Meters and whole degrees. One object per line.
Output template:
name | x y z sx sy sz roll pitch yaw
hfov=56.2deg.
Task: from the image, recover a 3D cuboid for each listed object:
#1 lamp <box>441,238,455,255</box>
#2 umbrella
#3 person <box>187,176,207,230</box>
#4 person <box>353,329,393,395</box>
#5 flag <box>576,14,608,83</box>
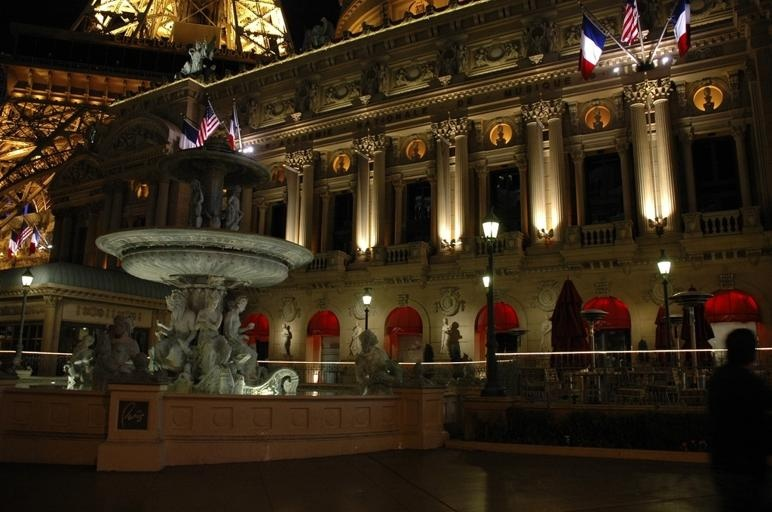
lamp | 3.402 -0.509 39.271 0.790 0.300 0.782 3 15 2
umbrella | 7.586 2.864 30.080 1.588 3.856 1.340 -6 -11 30
person | -6.595 -1.861 25.278 0.456 1.853 0.914 1 -10 -11
person | -0.413 3.516 23.911 0.925 2.015 1.425 4 -11 -25
flag | 9.521 -9.679 33.564 1.307 2.919 0.578 7 -12 -36
